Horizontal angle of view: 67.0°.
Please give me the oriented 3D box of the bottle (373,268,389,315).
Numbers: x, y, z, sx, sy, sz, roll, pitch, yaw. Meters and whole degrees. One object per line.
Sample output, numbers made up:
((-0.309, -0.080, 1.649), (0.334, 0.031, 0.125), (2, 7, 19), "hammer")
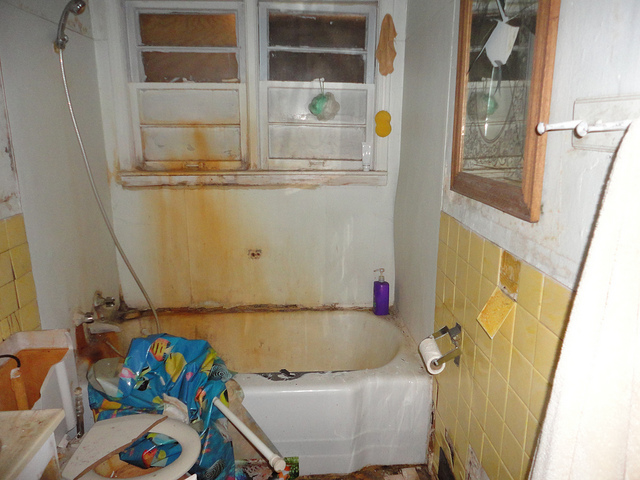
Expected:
((0.370, 0.319, 2.926), (0.096, 0.244, 0.124), (0, 15, 7), "bottle")

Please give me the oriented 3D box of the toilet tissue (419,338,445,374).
((0.476, 0.495, 2.030), (0.094, 0.082, 0.198), (-41, -4, 4), "toilet tissue")

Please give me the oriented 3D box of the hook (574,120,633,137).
((0.695, -0.280, 1.191), (0.016, 0.044, 0.108), (-2, -3, -35), "hook")
